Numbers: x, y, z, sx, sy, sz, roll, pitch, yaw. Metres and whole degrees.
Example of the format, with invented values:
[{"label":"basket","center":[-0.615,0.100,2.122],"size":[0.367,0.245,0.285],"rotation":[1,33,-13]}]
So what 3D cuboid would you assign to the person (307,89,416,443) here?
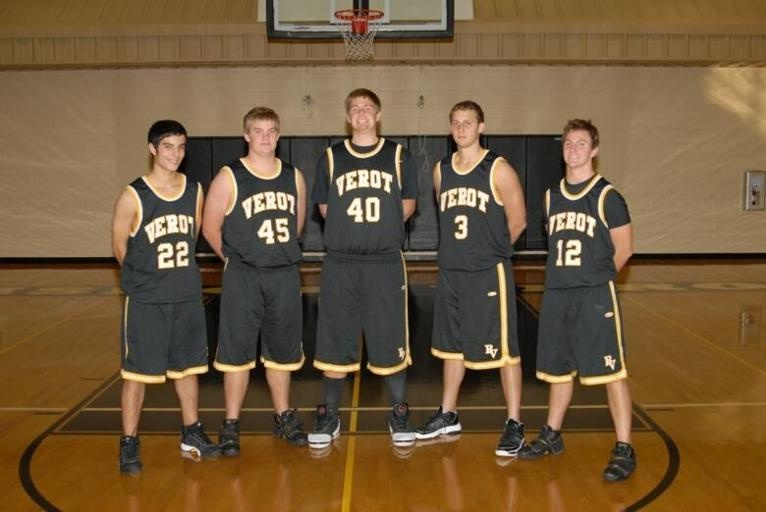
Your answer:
[{"label":"person","center":[-0.159,0.089,5.576],"size":[0.924,2.972,0.676],"rotation":[-1,9,3]}]

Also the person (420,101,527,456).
[{"label":"person","center":[0.768,0.158,5.540],"size":[0.866,2.901,0.639],"rotation":[1,9,12]}]

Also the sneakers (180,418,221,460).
[{"label":"sneakers","center":[-1.532,1.522,5.478],"size":[0.400,0.282,0.135],"rotation":[12,13,27]}]

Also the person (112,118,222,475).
[{"label":"person","center":[-1.811,0.305,5.303],"size":[0.771,2.776,0.471],"rotation":[-4,9,-15]}]

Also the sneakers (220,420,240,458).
[{"label":"sneakers","center":[-1.276,1.519,5.432],"size":[0.125,0.222,0.340],"rotation":[1,-1,-12]}]

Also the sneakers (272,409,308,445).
[{"label":"sneakers","center":[-0.797,1.466,5.668],"size":[0.185,0.260,0.505],"rotation":[-6,6,-34]}]

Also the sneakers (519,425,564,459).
[{"label":"sneakers","center":[1.309,1.529,5.430],"size":[0.423,0.247,0.151],"rotation":[-6,1,-16]}]

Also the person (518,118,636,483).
[{"label":"person","center":[1.636,0.512,5.300],"size":[0.848,2.408,0.594],"rotation":[2,9,22]}]

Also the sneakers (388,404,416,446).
[{"label":"sneakers","center":[0.159,1.451,5.576],"size":[0.144,0.199,0.435],"rotation":[-1,7,-3]}]

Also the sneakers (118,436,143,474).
[{"label":"sneakers","center":[-2.027,1.590,5.242],"size":[0.121,0.156,0.359],"rotation":[1,0,-20]}]

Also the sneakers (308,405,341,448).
[{"label":"sneakers","center":[-0.499,1.427,5.664],"size":[0.201,0.275,0.603],"rotation":[-3,1,11]}]
